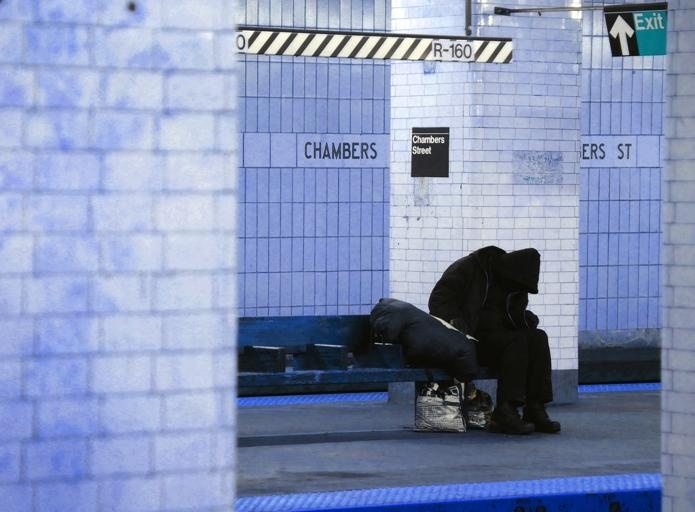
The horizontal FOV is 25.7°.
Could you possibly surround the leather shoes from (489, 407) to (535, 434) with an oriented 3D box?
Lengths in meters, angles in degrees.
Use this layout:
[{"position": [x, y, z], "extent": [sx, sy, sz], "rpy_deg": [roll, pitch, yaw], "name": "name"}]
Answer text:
[{"position": [1.209, 1.251, 11.449], "extent": [0.400, 0.209, 0.143], "rpy_deg": [-3, -3, 42], "name": "leather shoes"}]
